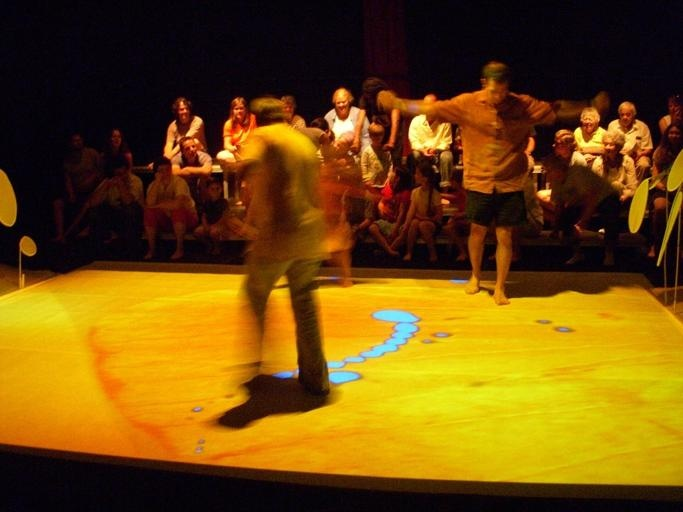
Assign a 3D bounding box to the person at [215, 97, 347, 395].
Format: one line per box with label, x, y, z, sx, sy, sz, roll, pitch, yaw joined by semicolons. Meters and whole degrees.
person;-0.390;-0.004;3.648;0.609;2.118;0.302;-2;13;-11
